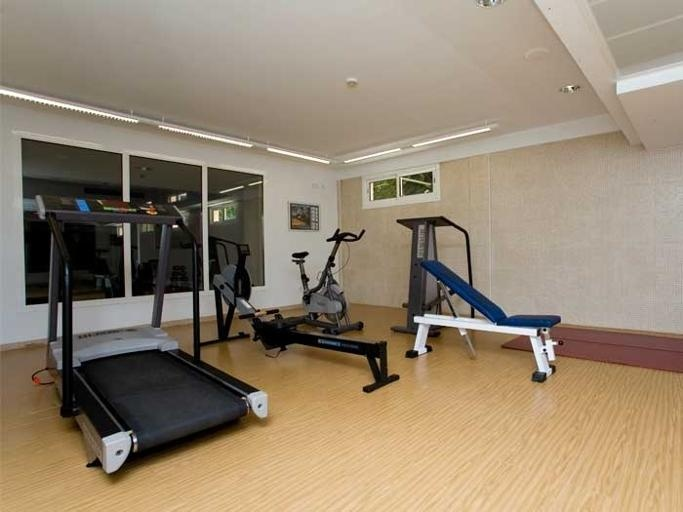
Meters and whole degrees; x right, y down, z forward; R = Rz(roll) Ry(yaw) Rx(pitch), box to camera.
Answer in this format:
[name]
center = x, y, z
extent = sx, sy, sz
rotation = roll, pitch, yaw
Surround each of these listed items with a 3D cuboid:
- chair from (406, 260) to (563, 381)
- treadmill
[chair]
center = 1.807, 0.645, 5.972
extent = 1.650, 1.253, 1.453
rotation = -2, 2, 35
[treadmill]
center = -1.900, 0.533, 4.691
extent = 1.512, 2.333, 1.998
rotation = -4, 2, -34
